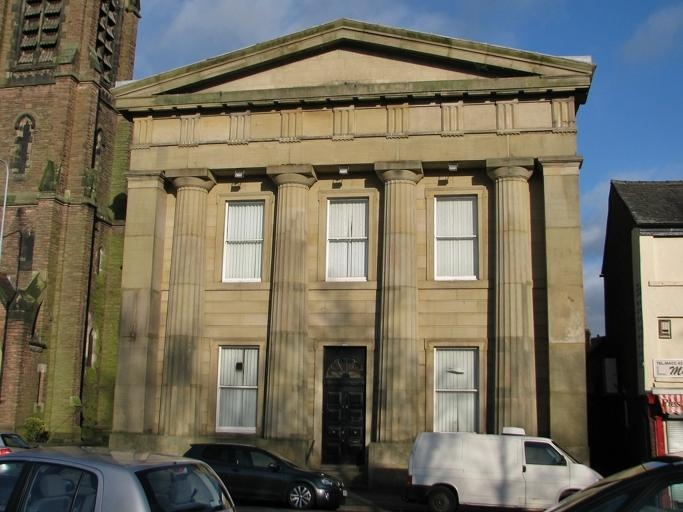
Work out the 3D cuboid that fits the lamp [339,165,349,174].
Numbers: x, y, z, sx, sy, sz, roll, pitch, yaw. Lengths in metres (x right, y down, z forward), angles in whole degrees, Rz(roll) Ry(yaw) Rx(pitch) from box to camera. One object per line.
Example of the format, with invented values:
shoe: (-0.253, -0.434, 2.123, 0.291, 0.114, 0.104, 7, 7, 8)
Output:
lamp: (0.059, -3.063, 30.315, 0.261, 0.269, 0.206, -2, -2, 8)
